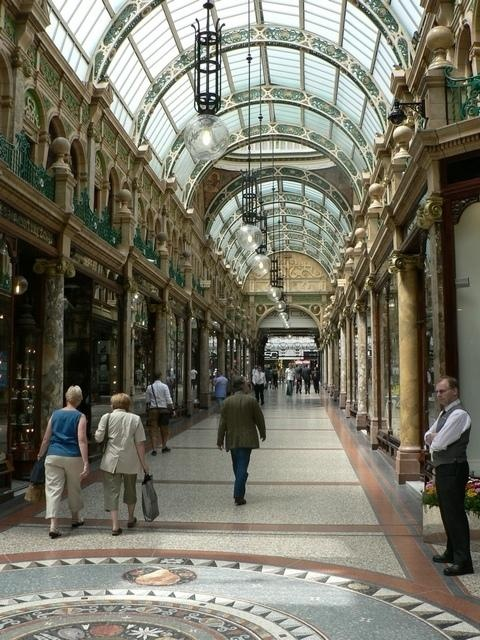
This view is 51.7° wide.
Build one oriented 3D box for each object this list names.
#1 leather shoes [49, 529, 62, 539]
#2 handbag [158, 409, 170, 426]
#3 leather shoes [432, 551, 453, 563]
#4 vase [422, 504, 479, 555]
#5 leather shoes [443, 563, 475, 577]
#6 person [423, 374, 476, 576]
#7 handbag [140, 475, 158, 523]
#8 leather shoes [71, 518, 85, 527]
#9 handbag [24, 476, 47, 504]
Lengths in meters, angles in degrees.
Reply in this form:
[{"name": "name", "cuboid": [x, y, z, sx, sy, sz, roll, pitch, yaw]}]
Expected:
[{"name": "leather shoes", "cuboid": [-1.798, 2.085, 4.841, 0.047, 0.072, 0.145, 0, -10, 5]}, {"name": "handbag", "cuboid": [-1.728, 2.187, 11.272, 0.332, 0.385, 0.203, 2, 0, 12]}, {"name": "leather shoes", "cuboid": [1.590, 1.863, 3.922, 0.159, 0.083, 0.068, 4, -7, 0]}, {"name": "vase", "cuboid": [1.856, 1.846, 4.542, 0.343, 0.265, 0.366, 0, -3, 14]}, {"name": "leather shoes", "cuboid": [1.578, 1.780, 3.589, 0.225, 0.118, 0.091, 5, -8, -6]}, {"name": "person", "cuboid": [1.583, 1.141, 3.768, 0.319, 1.408, 0.378, -4, -10, 31]}, {"name": "handbag", "cuboid": [-0.923, 1.835, 5.112, 0.138, 0.494, 0.195, -4, -10, 34]}, {"name": "leather shoes", "cuboid": [-1.725, 2.160, 5.282, 0.063, 0.098, 0.131, 1, 3, 9]}, {"name": "handbag", "cuboid": [-2.115, 1.777, 5.142, 0.168, 0.216, 0.222, 5, -9, -20]}]
